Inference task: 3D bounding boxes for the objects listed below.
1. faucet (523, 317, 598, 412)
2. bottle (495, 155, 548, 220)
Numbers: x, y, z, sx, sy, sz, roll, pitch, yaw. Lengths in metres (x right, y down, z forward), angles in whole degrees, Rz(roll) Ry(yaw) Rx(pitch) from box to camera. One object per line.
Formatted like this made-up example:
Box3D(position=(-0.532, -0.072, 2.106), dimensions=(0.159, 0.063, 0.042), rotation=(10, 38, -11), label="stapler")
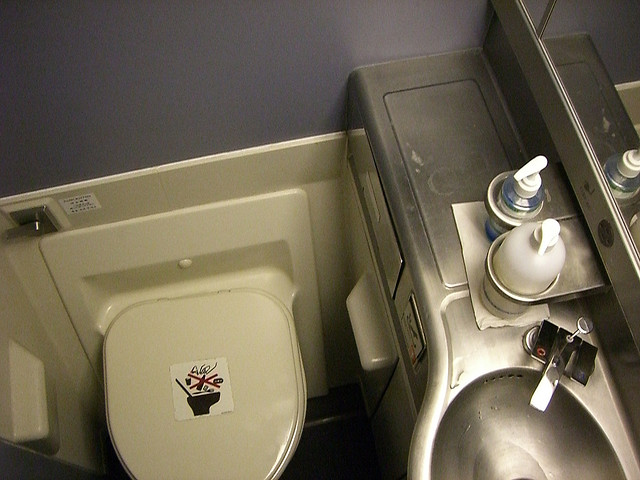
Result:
Box3D(position=(0.464, 0.231, 1.015), dimensions=(0.130, 0.068, 0.177), rotation=(30, 61, 27), label="faucet")
Box3D(position=(0.415, -0.079, 1.061), dimensions=(0.058, 0.171, 0.067), rotation=(-9, 47, -2), label="bottle")
